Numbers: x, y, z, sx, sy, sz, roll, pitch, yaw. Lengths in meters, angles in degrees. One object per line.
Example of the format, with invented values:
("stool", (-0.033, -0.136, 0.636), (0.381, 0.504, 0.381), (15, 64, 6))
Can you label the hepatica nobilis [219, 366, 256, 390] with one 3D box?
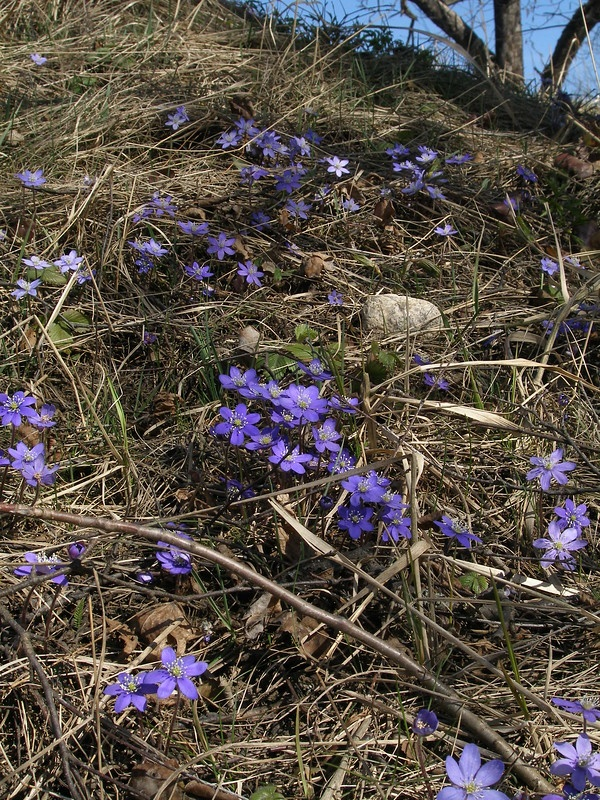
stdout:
("hepatica nobilis", (-0.150, -0.044, 2.005), (0.074, 0.029, 0.066), (9, 38, 14))

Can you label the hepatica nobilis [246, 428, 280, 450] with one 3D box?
("hepatica nobilis", (-0.082, 0.093, 1.943), (0.066, 0.027, 0.059), (-7, 33, 14))

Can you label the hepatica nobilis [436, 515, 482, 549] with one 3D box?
("hepatica nobilis", (0.341, 0.309, 1.914), (0.107, 0.039, 0.100), (1, 31, -40))

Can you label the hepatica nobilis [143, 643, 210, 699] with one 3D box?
("hepatica nobilis", (-0.227, 0.497, 1.509), (0.129, 0.035, 0.111), (-6, 50, -7))

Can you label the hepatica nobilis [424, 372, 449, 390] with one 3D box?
("hepatica nobilis", (0.398, -0.062, 2.452), (0.063, 0.026, 0.058), (17, 22, -15))

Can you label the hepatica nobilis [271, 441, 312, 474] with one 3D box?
("hepatica nobilis", (-0.027, 0.132, 1.884), (0.090, 0.023, 0.081), (-3, 49, -30))

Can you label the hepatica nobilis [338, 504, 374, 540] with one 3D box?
("hepatica nobilis", (0.129, 0.273, 1.865), (0.082, 0.033, 0.079), (-6, 55, -8))

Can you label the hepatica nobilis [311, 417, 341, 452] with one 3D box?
("hepatica nobilis", (0.061, 0.089, 1.986), (0.071, 0.040, 0.076), (10, 59, -23))

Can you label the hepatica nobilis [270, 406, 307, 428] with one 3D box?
("hepatica nobilis", (-0.025, 0.035, 1.926), (0.061, 0.014, 0.053), (-10, 61, -14))

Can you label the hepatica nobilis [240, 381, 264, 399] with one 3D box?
("hepatica nobilis", (-0.113, -0.022, 1.988), (0.056, 0.044, 0.073), (0, 40, 2))
